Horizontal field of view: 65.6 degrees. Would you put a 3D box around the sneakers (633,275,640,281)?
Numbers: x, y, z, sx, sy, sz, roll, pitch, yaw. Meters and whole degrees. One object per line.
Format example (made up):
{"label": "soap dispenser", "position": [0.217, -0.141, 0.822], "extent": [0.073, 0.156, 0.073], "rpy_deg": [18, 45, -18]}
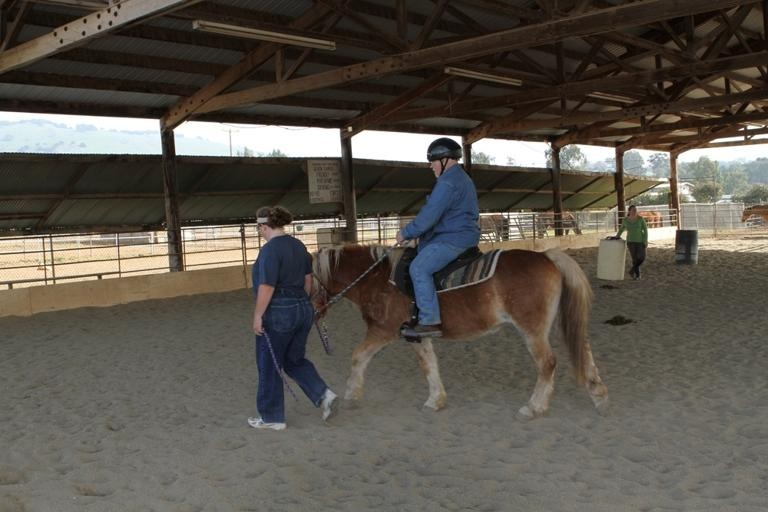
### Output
{"label": "sneakers", "position": [5.771, 0.496, 13.533], "extent": [0.089, 0.046, 0.133], "rpy_deg": [19, 0, 11]}

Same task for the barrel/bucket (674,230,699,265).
{"label": "barrel/bucket", "position": [7.950, -0.260, 15.592], "extent": [0.817, 0.897, 0.772], "rpy_deg": [0, 1, 0]}

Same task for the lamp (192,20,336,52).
{"label": "lamp", "position": [-1.913, -3.604, 9.626], "extent": [2.356, 0.319, 0.299], "rpy_deg": [-11, 17, -34]}

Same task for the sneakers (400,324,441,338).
{"label": "sneakers", "position": [0.430, 0.858, 6.837], "extent": [0.443, 0.182, 0.157], "rpy_deg": [2, -6, 16]}

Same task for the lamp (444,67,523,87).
{"label": "lamp", "position": [2.180, -4.093, 13.287], "extent": [1.844, 0.330, 0.493], "rpy_deg": [-7, 15, -23]}

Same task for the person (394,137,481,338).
{"label": "person", "position": [0.625, -0.177, 6.889], "extent": [0.985, 2.324, 0.512], "rpy_deg": [-12, 18, -35]}

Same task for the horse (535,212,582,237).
{"label": "horse", "position": [6.457, -1.273, 22.098], "extent": [1.086, 0.838, 1.945], "rpy_deg": [-1, 5, 11]}

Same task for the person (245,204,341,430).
{"label": "person", "position": [-1.094, 0.705, 6.567], "extent": [0.957, 2.431, 0.607], "rpy_deg": [-5, 15, -12]}

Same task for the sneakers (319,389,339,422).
{"label": "sneakers", "position": [-0.637, 1.725, 6.689], "extent": [0.164, 0.401, 0.193], "rpy_deg": [-24, 53, -41]}

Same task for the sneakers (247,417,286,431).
{"label": "sneakers", "position": [-1.297, 1.867, 6.714], "extent": [0.428, 0.177, 0.151], "rpy_deg": [9, -2, -1]}
